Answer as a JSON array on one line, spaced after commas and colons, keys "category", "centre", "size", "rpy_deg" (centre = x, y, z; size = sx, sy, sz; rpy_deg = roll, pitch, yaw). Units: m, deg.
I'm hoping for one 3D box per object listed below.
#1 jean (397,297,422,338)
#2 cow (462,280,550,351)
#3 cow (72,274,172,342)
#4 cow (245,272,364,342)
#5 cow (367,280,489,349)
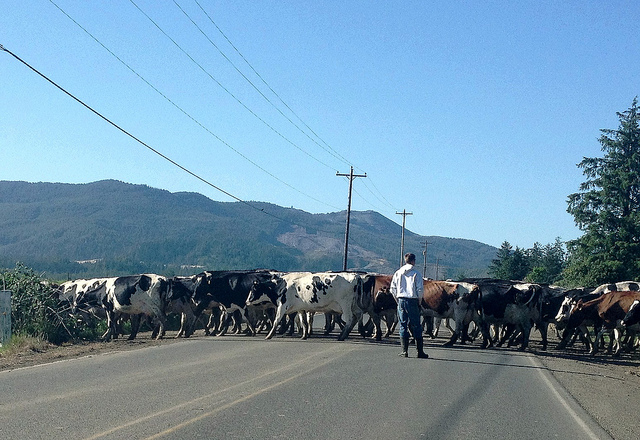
[{"category": "jean", "centre": [2.946, 3.235, 16.564], "size": [0.755, 1.318, 0.801], "rpy_deg": [2, -8, 12]}, {"category": "cow", "centre": [9.093, 4.940, 26.861], "size": [5.639, 3.332, 1.806], "rpy_deg": [-4, -11, 43]}, {"category": "cow", "centre": [-10.589, 4.298, 28.798], "size": [3.702, 4.852, 6.168], "rpy_deg": [6, 4, 36]}, {"category": "cow", "centre": [-0.808, 4.312, 26.145], "size": [5.930, 3.340, 3.575], "rpy_deg": [1, -9, 25]}, {"category": "cow", "centre": [5.711, 4.487, 25.565], "size": [5.791, 3.450, 1.441], "rpy_deg": [3, 12, 42]}]
